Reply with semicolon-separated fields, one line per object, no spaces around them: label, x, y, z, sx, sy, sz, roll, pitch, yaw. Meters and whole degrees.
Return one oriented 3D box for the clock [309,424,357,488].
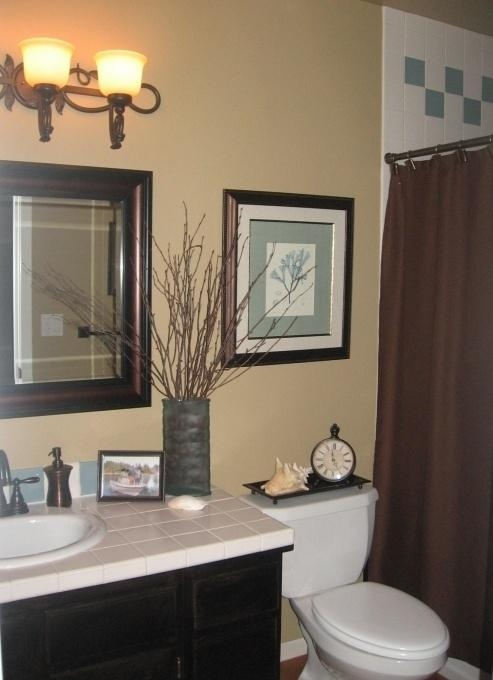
clock;0.291;0.414;2.130;0.192;0.290;0.044;0;-5;2

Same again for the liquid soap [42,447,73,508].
liquid soap;-0.524;0.375;1.696;0.069;0.161;0.157;-1;7;-17

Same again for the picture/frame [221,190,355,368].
picture/frame;0.125;-0.224;2.133;0.554;0.659;0.046;-6;11;-28
